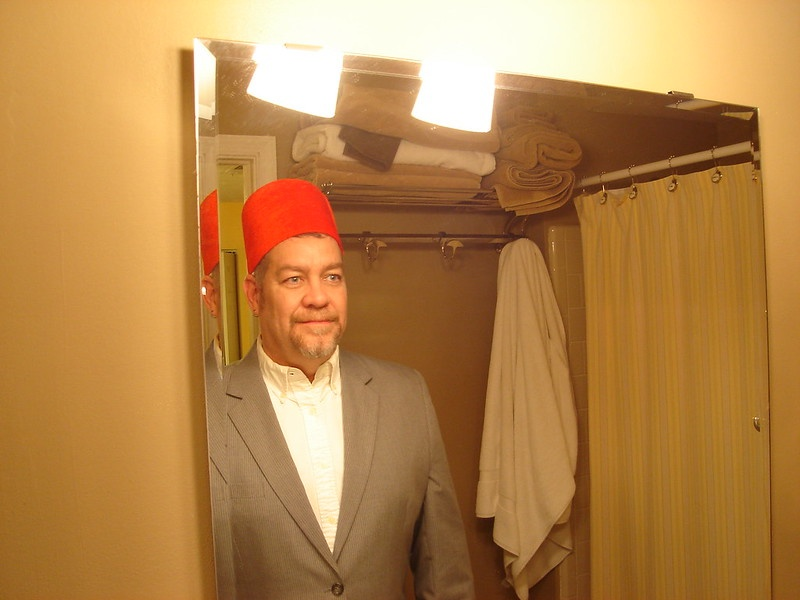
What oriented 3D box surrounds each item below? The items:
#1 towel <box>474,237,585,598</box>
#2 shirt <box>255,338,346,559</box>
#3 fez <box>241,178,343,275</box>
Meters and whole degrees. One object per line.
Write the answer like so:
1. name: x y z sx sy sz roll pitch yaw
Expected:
1. towel: 0.242 0.232 1.426 0.213 0.693 0.075 -1 6 -21
2. shirt: -0.176 0.228 1.303 0.109 0.429 0.069 1 -16 -40
3. fez: -0.192 -0.138 1.356 0.151 0.123 0.164 -20 -15 5
